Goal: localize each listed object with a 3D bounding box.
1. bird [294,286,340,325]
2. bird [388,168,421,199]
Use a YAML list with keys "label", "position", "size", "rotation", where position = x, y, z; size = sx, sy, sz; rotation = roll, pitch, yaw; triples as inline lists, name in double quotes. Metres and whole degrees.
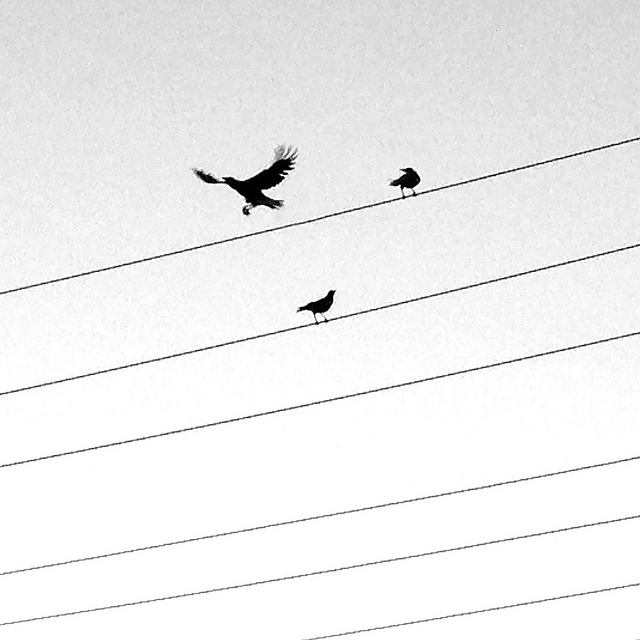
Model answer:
- label: "bird"
  position: [-0.008, -0.108, 12.033]
  size: [0.363, 0.341, 0.145]
  rotation: [0, -11, -2]
- label: "bird"
  position: [0.666, -1.012, 12.186]
  size: [0.199, 0.174, 0.100]
  rotation: [-26, -44, 14]
